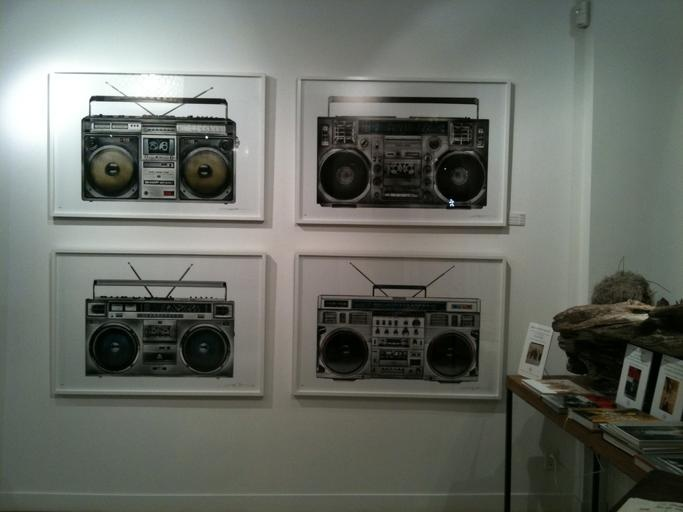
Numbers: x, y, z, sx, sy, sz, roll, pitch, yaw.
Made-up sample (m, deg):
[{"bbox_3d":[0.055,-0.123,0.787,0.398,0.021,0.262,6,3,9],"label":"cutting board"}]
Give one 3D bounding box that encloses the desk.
[{"bbox_3d":[1.115,0.800,2.589,0.261,0.597,0.776,1,4,-4],"label":"desk"}]
